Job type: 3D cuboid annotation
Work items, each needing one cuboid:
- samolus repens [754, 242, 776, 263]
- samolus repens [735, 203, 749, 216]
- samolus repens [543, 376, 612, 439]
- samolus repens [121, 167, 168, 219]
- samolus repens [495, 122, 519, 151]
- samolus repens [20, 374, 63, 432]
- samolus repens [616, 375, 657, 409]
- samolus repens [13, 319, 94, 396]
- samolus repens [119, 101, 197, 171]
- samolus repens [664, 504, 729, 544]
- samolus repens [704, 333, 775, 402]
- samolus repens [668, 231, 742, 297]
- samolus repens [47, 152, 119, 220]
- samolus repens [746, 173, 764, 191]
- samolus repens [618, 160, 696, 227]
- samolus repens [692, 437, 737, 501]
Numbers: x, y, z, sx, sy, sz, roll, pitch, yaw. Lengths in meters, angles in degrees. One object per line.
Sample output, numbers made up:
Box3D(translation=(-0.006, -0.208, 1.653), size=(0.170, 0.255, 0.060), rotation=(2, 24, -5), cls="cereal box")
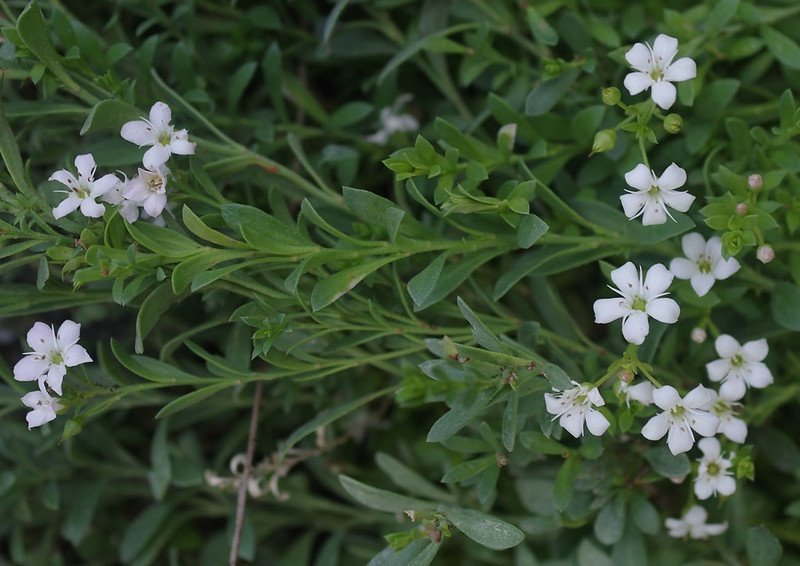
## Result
Box3D(translation=(0.687, -0.059, 1.394), size=(0.036, 0.011, 0.040), rotation=(8, 93, 1), cls="samolus repens")
Box3D(translation=(0.639, -0.139, 1.391), size=(0.019, 0.023, 0.019), rotation=(-43, 109, -18), cls="samolus repens")
Box3D(translation=(0.321, 0.228, 1.335), size=(0.107, 0.061, 0.107), rotation=(47, 124, -10), cls="samolus repens")
Box3D(translation=(-0.456, -0.169, 1.349), size=(0.078, 0.036, 0.091), rotation=(3, 101, 7), cls="samolus repens")
Box3D(translation=(0.232, -0.320, 1.553), size=(0.044, 0.013, 0.067), rotation=(17, 59, 2), cls="samolus repens")
Box3D(translation=(-0.671, 0.236, 1.431), size=(0.094, 0.049, 0.099), rotation=(-19, 82, 26), cls="samolus repens")
Box3D(translation=(0.429, 0.199, 1.348), size=(0.066, 0.049, 0.042), rotation=(4, 66, -6), cls="samolus repens")
Box3D(translation=(-0.641, 0.134, 1.381), size=(0.125, 0.050, 0.116), rotation=(-18, 57, -26), cls="samolus repens")
Box3D(translation=(-0.458, -0.277, 1.387), size=(0.127, 0.046, 0.133), rotation=(3, 78, 8), cls="samolus repens")
Box3D(translation=(0.657, 0.528, 1.628), size=(0.136, 0.064, 0.113), rotation=(-1, 101, 0), cls="samolus repens")
Box3D(translation=(0.667, 0.141, 1.463), size=(0.109, 0.130, 0.046), rotation=(-1, 104, 15), cls="samolus repens")
Box3D(translation=(0.591, -0.041, 1.459), size=(0.126, 0.054, 0.132), rotation=(-24, 66, 27), cls="samolus repens")
Box3D(translation=(-0.565, -0.172, 1.376), size=(0.118, 0.061, 0.130), rotation=(13, 83, 19), cls="samolus repens")
Box3D(translation=(0.669, -0.192, 1.401), size=(0.027, 0.036, 0.020), rotation=(-37, 54, -12), cls="samolus repens")
Box3D(translation=(0.470, -0.166, 1.367), size=(0.118, 0.090, 0.086), rotation=(7, 66, -5), cls="samolus repens")
Box3D(translation=(0.613, 0.365, 1.447), size=(0.099, 0.038, 0.114), rotation=(1, 75, 2), cls="samolus repens")
